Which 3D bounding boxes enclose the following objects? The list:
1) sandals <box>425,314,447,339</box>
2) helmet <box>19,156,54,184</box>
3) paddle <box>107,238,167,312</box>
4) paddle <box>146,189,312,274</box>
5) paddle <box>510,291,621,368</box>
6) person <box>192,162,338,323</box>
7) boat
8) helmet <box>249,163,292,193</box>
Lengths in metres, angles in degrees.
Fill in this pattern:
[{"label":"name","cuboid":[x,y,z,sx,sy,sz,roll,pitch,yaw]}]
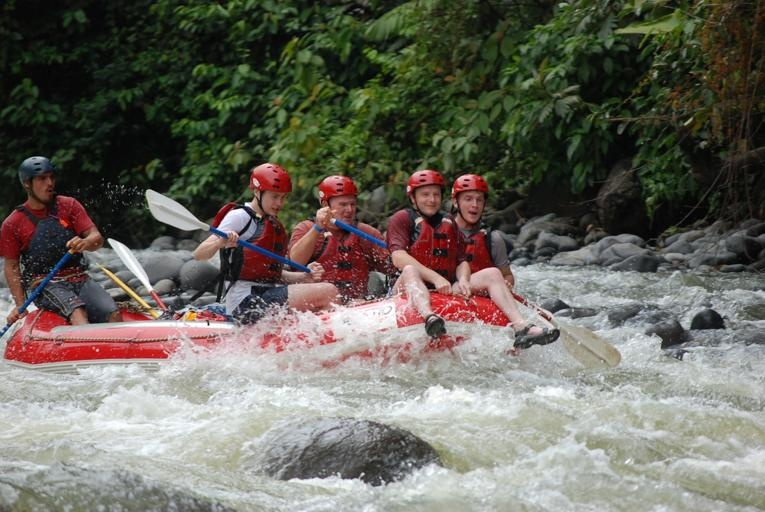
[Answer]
[{"label":"sandals","cuboid":[0.459,0.628,7.883,0.180,0.204,0.111,1,16,4]},{"label":"helmet","cuboid":[-3.308,-0.811,8.649,0.305,0.267,0.284,-5,16,-19]},{"label":"paddle","cuboid":[-2.971,0.262,10.929,1.363,0.069,0.159,46,31,25]},{"label":"paddle","cuboid":[-1.737,-0.266,10.349,1.797,0.255,0.047,25,2,5]},{"label":"paddle","cuboid":[1.620,0.699,8.216,1.154,0.281,0.086,32,-6,0]},{"label":"person","cuboid":[-1.090,0.032,8.451,1.475,1.637,1.168,1,6,-5]},{"label":"boat","cuboid":[-1.104,0.741,8.386,4.484,0.672,1.472,-1,-10,6]},{"label":"helmet","cuboid":[-1.039,-0.722,8.441,0.353,0.297,0.250,2,6,12]}]
